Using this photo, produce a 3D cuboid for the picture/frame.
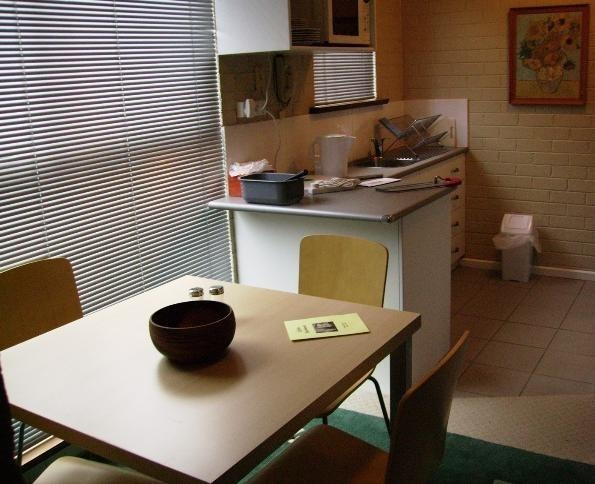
[{"bbox_3d":[2.078,-1.552,3.815,0.606,0.798,0.033,5,17,32],"label":"picture/frame"}]
